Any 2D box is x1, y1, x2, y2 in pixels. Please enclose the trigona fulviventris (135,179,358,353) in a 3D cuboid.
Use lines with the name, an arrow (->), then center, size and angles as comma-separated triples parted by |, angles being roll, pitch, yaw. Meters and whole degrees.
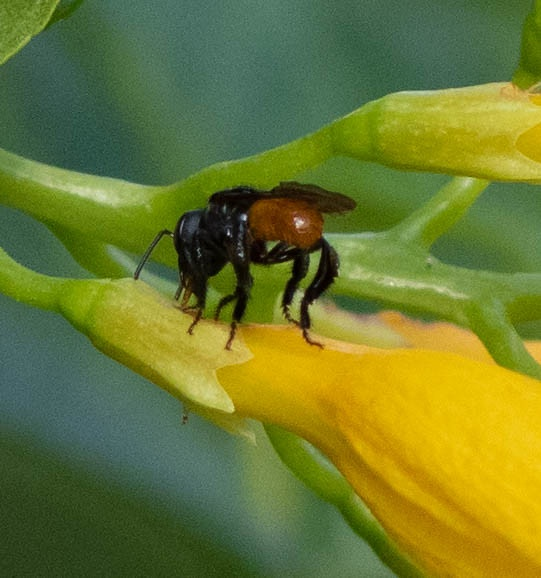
trigona fulviventris -> -0.025, -0.033, 0.675 | 0.221, 0.106, 0.095 | -4, 81, 33
